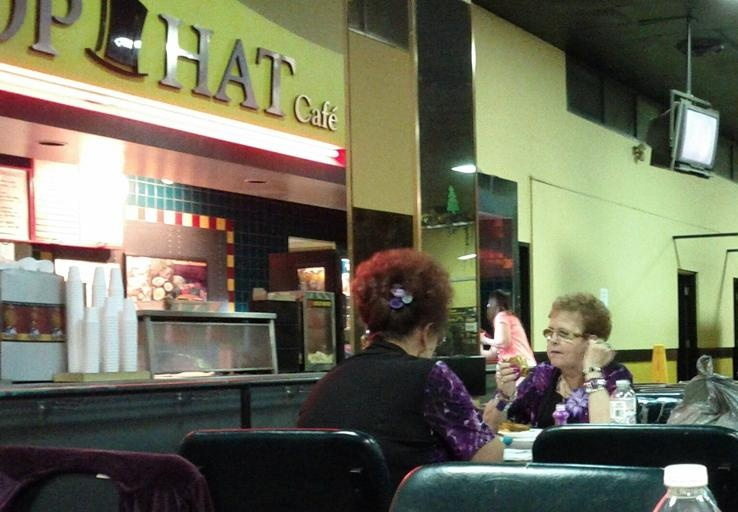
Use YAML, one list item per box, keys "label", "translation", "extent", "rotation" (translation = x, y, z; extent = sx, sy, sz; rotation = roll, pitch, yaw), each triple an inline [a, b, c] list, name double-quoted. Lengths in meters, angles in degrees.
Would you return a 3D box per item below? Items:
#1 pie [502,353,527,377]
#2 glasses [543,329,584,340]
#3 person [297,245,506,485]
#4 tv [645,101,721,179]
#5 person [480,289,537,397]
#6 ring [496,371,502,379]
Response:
- label: "pie"
  translation: [0.567, 0.419, 2.795]
  extent: [0.097, 0.092, 0.098]
  rotation: [-4, -18, 25]
- label: "glasses"
  translation: [0.881, 0.357, 3.279]
  extent: [0.192, 0.054, 0.112]
  rotation: [-4, -6, 37]
- label: "person"
  translation: [0.115, 0.365, 2.548]
  extent: [0.703, 0.814, 0.386]
  rotation: [0, -5, 4]
- label: "tv"
  translation: [3.733, -1.381, 8.440]
  extent: [0.789, 0.840, 0.789]
  rotation: [8, 7, 0]
- label: "person"
  translation: [1.105, 0.654, 5.739]
  extent: [0.437, 0.318, 1.000]
  rotation: [-3, 36, 13]
- label: "ring"
  translation: [0.500, 0.456, 2.733]
  extent: [0.008, 0.021, 0.022]
  rotation: [7, -8, -43]
